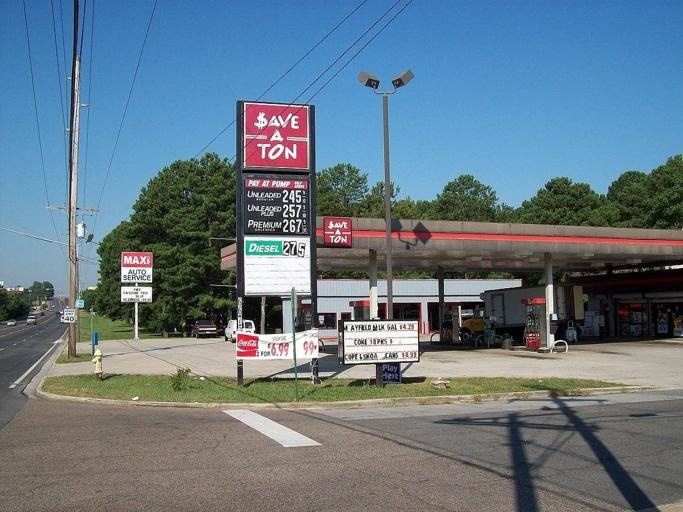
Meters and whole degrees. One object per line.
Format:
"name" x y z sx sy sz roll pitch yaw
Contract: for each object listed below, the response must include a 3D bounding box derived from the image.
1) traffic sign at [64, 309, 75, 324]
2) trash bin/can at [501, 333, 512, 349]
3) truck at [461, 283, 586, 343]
"traffic sign" -14.761 3.254 31.762 0.792 0.787 0.121 -3 -14 2
"trash bin/can" 10.260 5.313 36.080 0.707 0.848 0.751 1 -6 -9
"truck" 12.606 3.576 39.284 3.341 3.442 6.097 2 -1 -23
